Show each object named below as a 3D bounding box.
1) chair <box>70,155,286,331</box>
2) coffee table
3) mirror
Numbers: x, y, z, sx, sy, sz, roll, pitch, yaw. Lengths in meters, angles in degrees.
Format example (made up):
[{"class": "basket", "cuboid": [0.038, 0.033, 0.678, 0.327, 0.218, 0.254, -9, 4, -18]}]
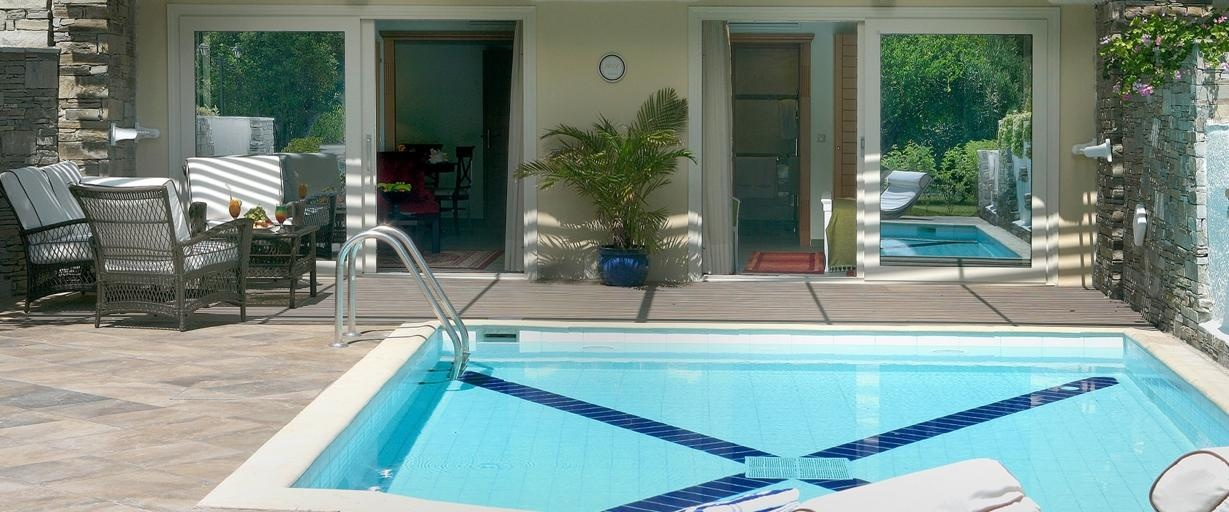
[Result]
[{"class": "chair", "cuboid": [-6.150, -0.085, 10.747, 2.322, 1.896, 2.466, 0, 1, 10]}, {"class": "coffee table", "cuboid": [-5.029, 0.140, 11.454, 1.979, 1.175, 1.395, 0, 3, 1]}, {"class": "mirror", "cuboid": [5.508, -1.687, 12.005, 2.371, 3.649, 0.523, -1, 11, 2]}]
